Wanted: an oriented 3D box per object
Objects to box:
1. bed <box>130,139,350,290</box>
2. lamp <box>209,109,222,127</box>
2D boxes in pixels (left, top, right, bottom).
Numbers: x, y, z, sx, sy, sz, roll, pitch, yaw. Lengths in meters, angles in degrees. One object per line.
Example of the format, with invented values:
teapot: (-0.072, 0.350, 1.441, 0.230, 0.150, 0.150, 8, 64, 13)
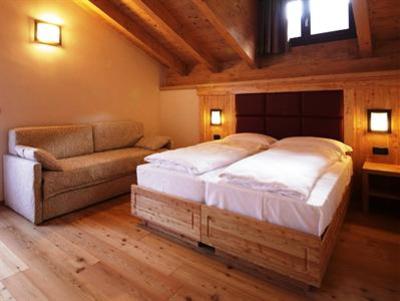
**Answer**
bed: (0.894, 0.353, 3.267, 1.678, 0.629, 1.682, 5, 11, 32)
lamp: (0.273, -0.590, 5.129, 0.247, 0.284, 0.076, 7, 13, 39)
